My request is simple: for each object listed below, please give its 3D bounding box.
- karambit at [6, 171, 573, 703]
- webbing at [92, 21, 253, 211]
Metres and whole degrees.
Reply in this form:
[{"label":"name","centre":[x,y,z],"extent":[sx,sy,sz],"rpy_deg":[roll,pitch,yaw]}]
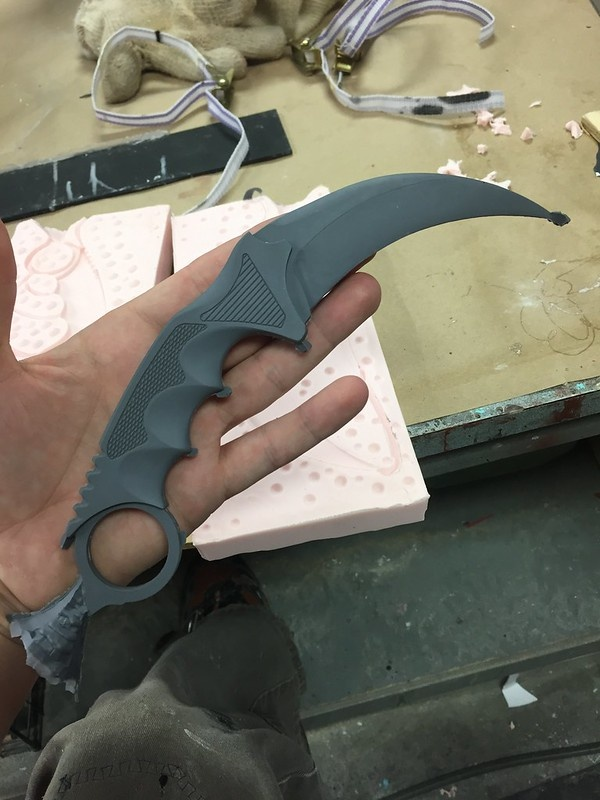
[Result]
[{"label":"karambit","centre":[-0.081,-0.068,1.157],"extent":[0.991,0.044,0.359],"rpy_deg":[-40,82,-8]},{"label":"webbing","centre":[-0.242,-0.646,1.798],"extent":[0.349,0.079,0.493],"rpy_deg":[-18,71,-10]}]
